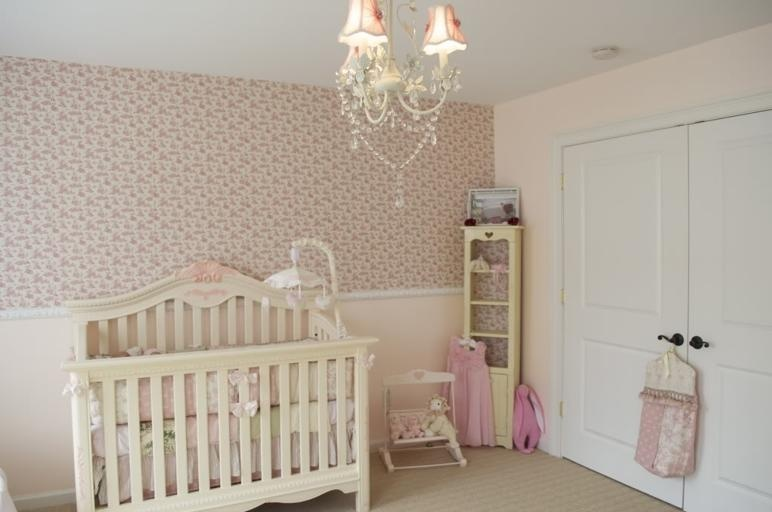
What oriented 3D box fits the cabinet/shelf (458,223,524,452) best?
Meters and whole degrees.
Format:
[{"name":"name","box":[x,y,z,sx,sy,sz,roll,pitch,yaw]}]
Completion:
[{"name":"cabinet/shelf","box":[0.933,0.666,5.179,0.534,1.889,0.681,1,13,9]}]

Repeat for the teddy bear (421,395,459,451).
[{"name":"teddy bear","box":[0.446,1.368,4.804,0.282,0.433,0.150,1,13,6]}]

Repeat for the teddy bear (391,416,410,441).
[{"name":"teddy bear","box":[0.108,1.411,4.826,0.151,0.167,0.153,0,12,2]}]

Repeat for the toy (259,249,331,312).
[{"name":"toy","box":[-0.669,0.198,4.356,0.509,0.441,0.496,-1,3,-10]}]
